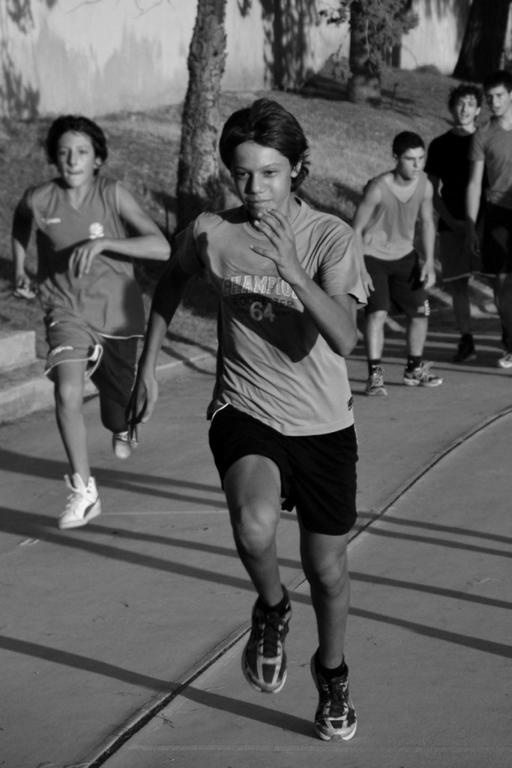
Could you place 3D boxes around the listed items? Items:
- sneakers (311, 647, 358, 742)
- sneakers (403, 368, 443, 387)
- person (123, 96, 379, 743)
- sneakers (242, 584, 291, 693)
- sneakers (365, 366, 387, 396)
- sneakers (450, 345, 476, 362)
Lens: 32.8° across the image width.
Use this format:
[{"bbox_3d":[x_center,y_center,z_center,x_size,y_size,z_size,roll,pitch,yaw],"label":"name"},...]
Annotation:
[{"bbox_3d":[0.194,0.799,2.214,0.086,0.248,0.109,-3,-12,-1],"label":"sneakers"},{"bbox_3d":[1.433,-0.047,7.475,0.320,0.194,0.147,2,10,1],"label":"sneakers"},{"bbox_3d":[0.049,0.094,2.240,0.476,1.629,0.723,-1,7,-8],"label":"person"},{"bbox_3d":[0.025,0.647,2.232,0.096,0.113,0.290,3,54,-5],"label":"sneakers"},{"bbox_3d":[1.016,-0.016,7.329,0.115,0.154,0.308,-1,5,-1],"label":"sneakers"},{"bbox_3d":[1.981,-0.277,8.326,0.103,0.142,0.287,-3,0,30],"label":"sneakers"}]
